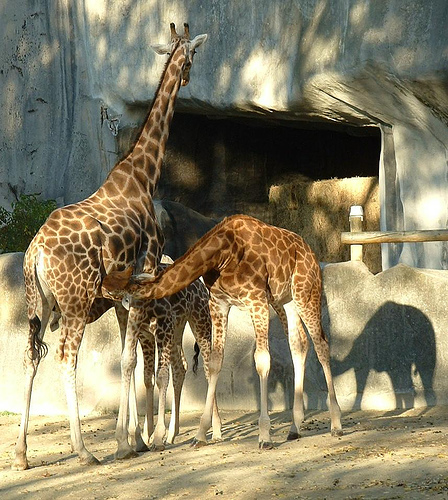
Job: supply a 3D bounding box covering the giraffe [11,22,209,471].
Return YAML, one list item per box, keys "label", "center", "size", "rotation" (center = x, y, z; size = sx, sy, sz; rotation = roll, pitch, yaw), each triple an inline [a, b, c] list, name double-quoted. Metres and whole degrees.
- label: "giraffe"
  center: [-0.966, -0.067, 7.926]
  size: [0.728, 3.030, 1.610]
  rotation: [2, 1, 30]
